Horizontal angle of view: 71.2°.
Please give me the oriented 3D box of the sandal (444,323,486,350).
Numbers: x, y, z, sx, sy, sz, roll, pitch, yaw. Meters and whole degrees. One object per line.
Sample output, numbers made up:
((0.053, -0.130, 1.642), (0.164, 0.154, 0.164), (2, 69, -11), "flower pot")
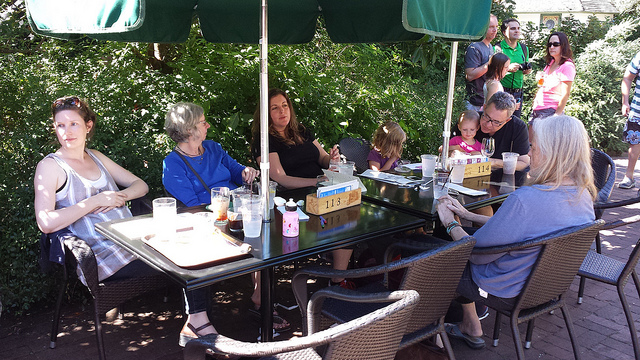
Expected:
((1.390, 1.479, 4.314), (0.153, 0.174, 0.429), (-5, 10, -37), "sandal")

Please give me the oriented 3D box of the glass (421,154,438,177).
((1.149, -0.152, 4.737), (0.221, 0.207, 0.213), (-2, 14, -4), "glass")

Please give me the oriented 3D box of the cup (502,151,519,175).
((2.084, -0.177, 5.031), (0.226, 0.240, 0.228), (-1, 10, 0), "cup")

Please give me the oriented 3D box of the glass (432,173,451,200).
((1.146, 0.054, 4.237), (0.141, 0.243, 0.207), (1, 14, 13), "glass")

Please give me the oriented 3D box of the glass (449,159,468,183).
((1.430, -0.084, 4.644), (0.249, 0.241, 0.233), (-5, 6, -41), "glass")

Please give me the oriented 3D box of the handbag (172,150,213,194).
((-1.277, -0.059, 4.389), (0.065, 0.613, 0.044), (-50, 0, -11), "handbag")

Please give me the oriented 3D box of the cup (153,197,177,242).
((-1.219, 0.308, 3.496), (0.185, 0.302, 0.269), (-7, 14, -19), "cup")

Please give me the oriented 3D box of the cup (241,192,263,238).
((-0.552, 0.281, 3.601), (0.178, 0.327, 0.249), (-5, 14, -10), "cup")

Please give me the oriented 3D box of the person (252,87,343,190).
((-0.254, -0.409, 5.125), (1.021, 1.177, 0.821), (8, 26, 29), "person")

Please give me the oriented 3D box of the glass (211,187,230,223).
((-0.826, 0.212, 3.719), (0.140, 0.284, 0.125), (-3, 14, -2), "glass")

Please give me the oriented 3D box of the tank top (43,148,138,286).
((-2.098, 0.306, 4.151), (0.610, 1.103, 0.766), (-11, 16, -31), "tank top")

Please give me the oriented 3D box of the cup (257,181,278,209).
((-0.420, 0.131, 4.055), (0.217, 0.213, 0.204), (-1, 6, 0), "cup")

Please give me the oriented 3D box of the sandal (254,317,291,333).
((-0.481, 1.444, 4.410), (0.401, 0.143, 0.141), (2, 16, 14), "sandal")

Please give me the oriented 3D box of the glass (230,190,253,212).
((-0.675, 0.155, 3.677), (0.214, 0.240, 0.160), (2, 12, 2), "glass")

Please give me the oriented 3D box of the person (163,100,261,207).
((-1.095, -0.141, 4.497), (0.985, 1.102, 0.943), (-6, 23, -29), "person")

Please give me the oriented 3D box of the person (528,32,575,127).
((3.892, -1.672, 7.504), (0.512, 1.550, 0.652), (-10, 16, -27), "person")

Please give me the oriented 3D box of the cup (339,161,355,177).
((0.258, -0.105, 4.513), (0.144, 0.145, 0.147), (2, 10, 0), "cup")

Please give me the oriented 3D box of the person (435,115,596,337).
((1.628, 0.538, 3.793), (1.146, 2.099, 0.613), (5, 16, 29), "person")

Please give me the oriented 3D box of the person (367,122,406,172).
((0.816, -0.393, 5.526), (0.379, 0.970, 0.423), (6, 28, 13), "person")

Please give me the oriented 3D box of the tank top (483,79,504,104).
((2.622, -1.336, 6.785), (0.253, 0.354, 0.652), (2, 13, 18), "tank top")
